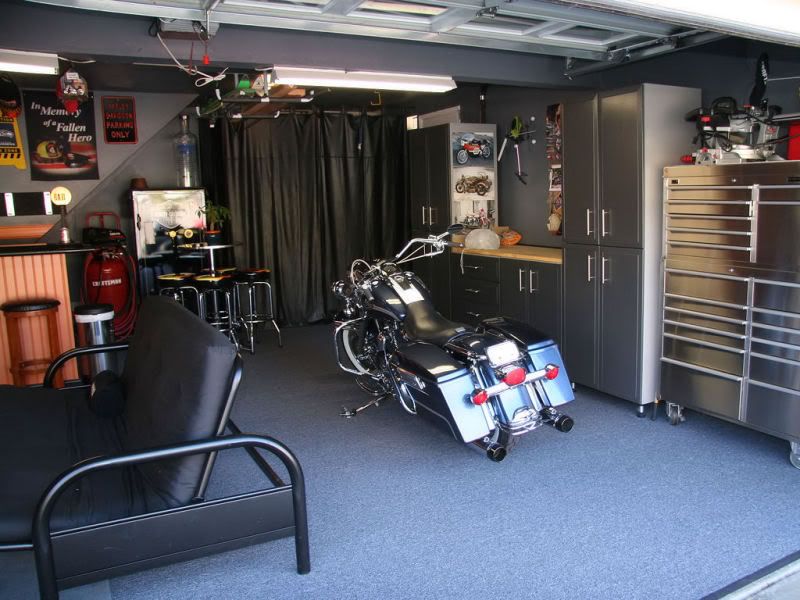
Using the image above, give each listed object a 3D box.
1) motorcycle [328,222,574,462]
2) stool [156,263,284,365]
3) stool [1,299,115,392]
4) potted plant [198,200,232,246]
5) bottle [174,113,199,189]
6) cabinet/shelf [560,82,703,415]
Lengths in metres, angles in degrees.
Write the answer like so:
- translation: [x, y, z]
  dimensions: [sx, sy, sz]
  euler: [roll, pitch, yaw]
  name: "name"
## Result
- translation: [0.170, 0.281, 4.325]
  dimensions: [1.313, 1.241, 2.329]
  euler: [-16, 26, -28]
  name: "motorcycle"
- translation: [-1.941, 0.052, 6.586]
  dimensions: [1.215, 0.709, 1.167]
  euler: [-8, 13, -34]
  name: "stool"
- translation: [-2.854, 0.377, 4.731]
  dimensions: [0.700, 0.845, 0.666]
  euler: [-3, 11, -14]
  name: "stool"
- translation: [-2.187, -0.864, 6.646]
  dimensions: [0.380, 0.533, 0.317]
  euler: [-8, 7, -41]
  name: "potted plant"
- translation: [-2.621, -1.810, 7.047]
  dimensions: [0.287, 0.850, 0.400]
  euler: [-7, 14, -17]
  name: "bottle"
- translation: [1.659, -0.385, 4.390]
  dimensions: [0.864, 2.346, 0.660]
  euler: [2, 14, 22]
  name: "cabinet/shelf"
